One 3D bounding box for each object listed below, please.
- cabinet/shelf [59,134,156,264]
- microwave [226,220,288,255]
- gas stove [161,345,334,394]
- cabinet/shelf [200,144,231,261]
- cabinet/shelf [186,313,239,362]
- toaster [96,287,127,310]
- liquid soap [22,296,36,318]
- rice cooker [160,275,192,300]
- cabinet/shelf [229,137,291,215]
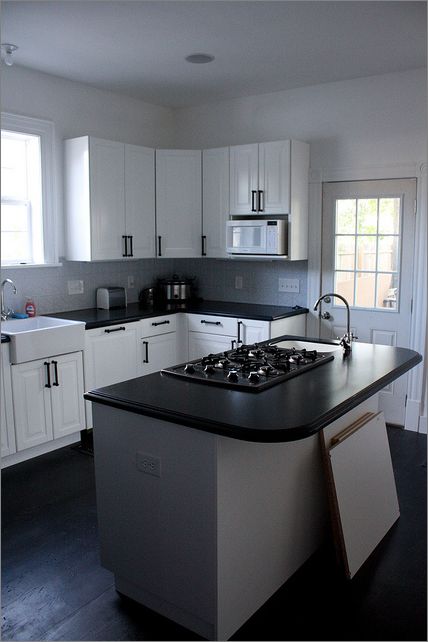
[{"bbox_3d":[-0.815,-0.992,3.851,0.303,0.929,0.710,8,13,36],"label":"cabinet/shelf"},{"bbox_3d":[0.324,-0.673,3.838,0.522,0.295,0.126,3,5,41],"label":"microwave"},{"bbox_3d":[0.159,0.172,2.013,0.496,0.079,0.740,3,5,37],"label":"gas stove"},{"bbox_3d":[0.012,-1.018,4.088,0.328,0.917,0.086,3,5,44],"label":"cabinet/shelf"},{"bbox_3d":[0.006,0.114,3.968,0.363,0.585,0.362,0,1,19],"label":"cabinet/shelf"},{"bbox_3d":[-0.866,-0.200,4.037,0.156,0.250,0.274,7,8,29],"label":"toaster"},{"bbox_3d":[-1.336,-0.103,3.436,0.069,0.139,0.149,-2,4,-21],"label":"liquid soap"},{"bbox_3d":[-0.350,-0.286,4.422,0.224,0.176,0.241,-2,2,-12],"label":"rice cooker"},{"bbox_3d":[0.361,-1.194,3.894,0.475,0.606,0.288,-1,43,4],"label":"cabinet/shelf"}]
